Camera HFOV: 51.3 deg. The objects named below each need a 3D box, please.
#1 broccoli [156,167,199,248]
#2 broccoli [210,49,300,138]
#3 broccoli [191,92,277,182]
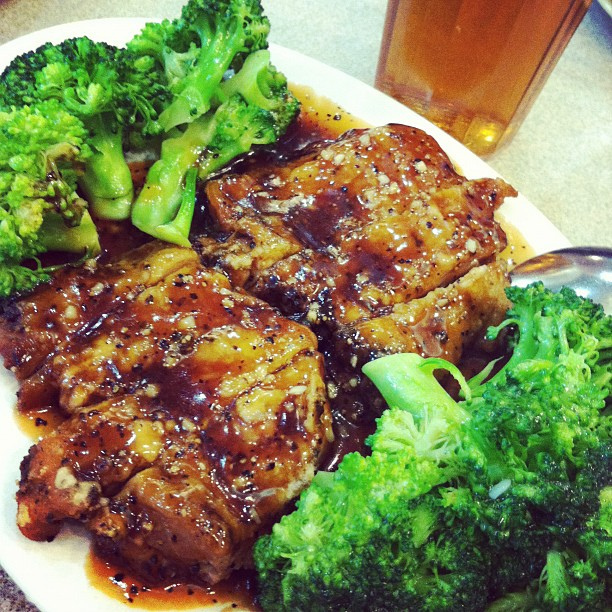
[{"bbox_3d":[-0.531,-0.438,2.841,0.193,0.102,0.330,23,66,-10],"label":"broccoli"},{"bbox_3d":[-0.257,-1.054,2.919,0.298,0.083,0.232,-32,64,-6],"label":"broccoli"},{"bbox_3d":[-0.307,-0.779,3.023,0.466,0.188,0.306,-39,64,-13],"label":"broccoli"}]
